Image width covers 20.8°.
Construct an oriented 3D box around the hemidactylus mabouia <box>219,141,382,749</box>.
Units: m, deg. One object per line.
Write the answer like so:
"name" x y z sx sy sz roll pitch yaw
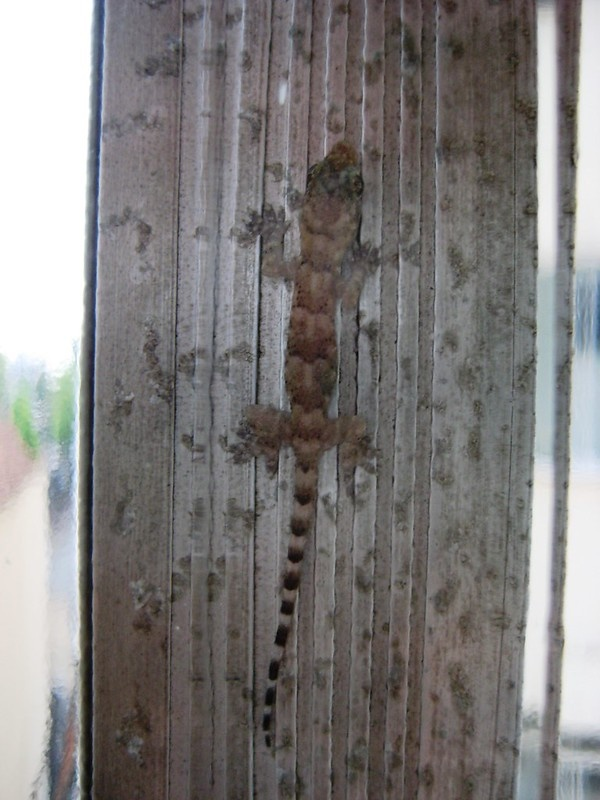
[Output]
"hemidactylus mabouia" 0.004 0.136 4.949 0.437 1.826 0.214 2 -7 4
